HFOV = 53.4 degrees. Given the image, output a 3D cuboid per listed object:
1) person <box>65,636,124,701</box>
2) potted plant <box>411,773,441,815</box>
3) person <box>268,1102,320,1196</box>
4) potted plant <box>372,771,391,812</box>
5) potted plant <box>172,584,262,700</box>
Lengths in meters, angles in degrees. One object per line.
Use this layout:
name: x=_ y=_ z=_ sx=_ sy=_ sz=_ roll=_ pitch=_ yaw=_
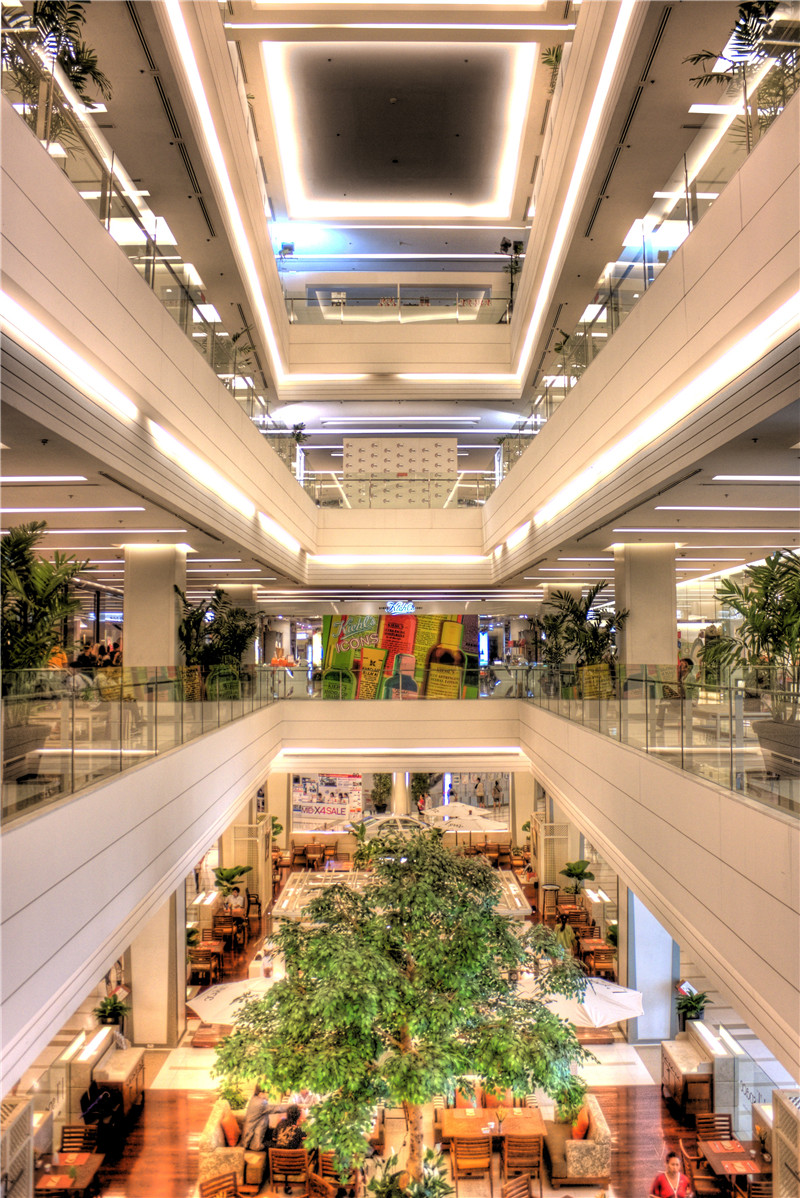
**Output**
person: x=-3.243 y=0.704 z=8.469 sx=0.493 sy=0.554 sz=0.958 roll=1 pitch=-12 yaw=-9
potted plant: x=0.759 y=5.485 z=22.524 sx=0.899 sy=1.506 sz=0.884 roll=-1 pitch=0 yaw=-3
person: x=-1.065 y=5.538 z=7.964 sx=0.503 sy=0.513 sz=0.881 roll=2 pitch=-3 yaw=-6
potted plant: x=-0.520 y=5.521 z=22.546 sx=0.476 sy=1.041 sz=0.431 roll=2 pitch=-3 yaw=-4
potted plant: x=-2.967 y=0.672 z=12.833 sx=1.661 sy=2.142 sz=1.674 roll=1 pitch=-2 yaw=-17
